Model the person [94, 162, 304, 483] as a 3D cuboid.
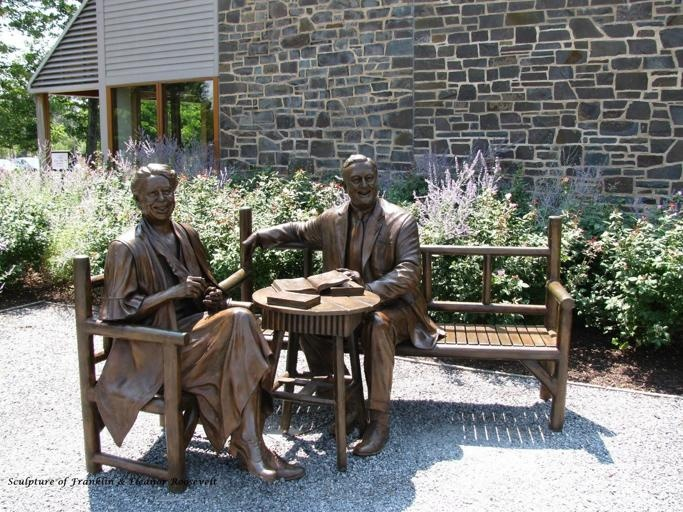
[{"bbox_3d":[-0.887,0.393,3.631,1.378,1.888,0.998,9,13,23],"label":"person"}]
